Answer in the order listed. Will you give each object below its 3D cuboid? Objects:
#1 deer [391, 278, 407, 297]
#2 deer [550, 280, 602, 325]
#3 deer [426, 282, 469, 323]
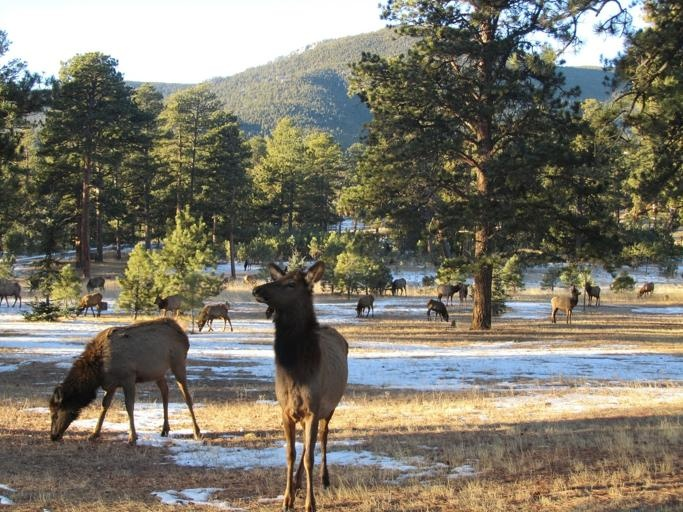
[{"bbox_3d":[4.902,2.793,123.564,0.653,1.381,2.441,-3,-14,13],"label":"deer"},{"bbox_3d":[17.745,3.666,107.724,1.825,2.758,2.005,-3,5,-34],"label":"deer"},{"bbox_3d":[8.336,4.157,111.733,2.368,3.921,2.552,-7,8,-40],"label":"deer"}]
